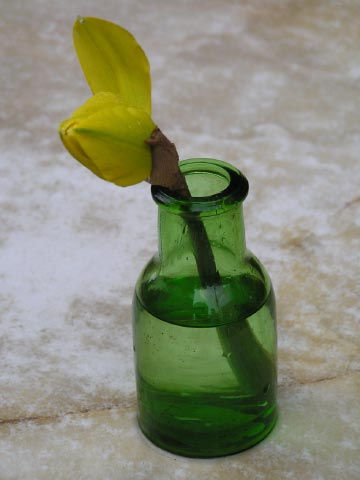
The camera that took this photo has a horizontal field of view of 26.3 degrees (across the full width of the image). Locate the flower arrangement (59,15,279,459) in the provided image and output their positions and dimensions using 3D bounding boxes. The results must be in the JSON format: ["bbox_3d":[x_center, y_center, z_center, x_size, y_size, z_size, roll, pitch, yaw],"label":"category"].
[{"bbox_3d":[0.001,0.006,0.461,0.126,0.256,0.089,-4,27,-3],"label":"flower arrangement"}]

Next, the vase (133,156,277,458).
[{"bbox_3d":[0.016,0.045,0.485,0.097,0.163,0.091,-16,26,-28],"label":"vase"}]
